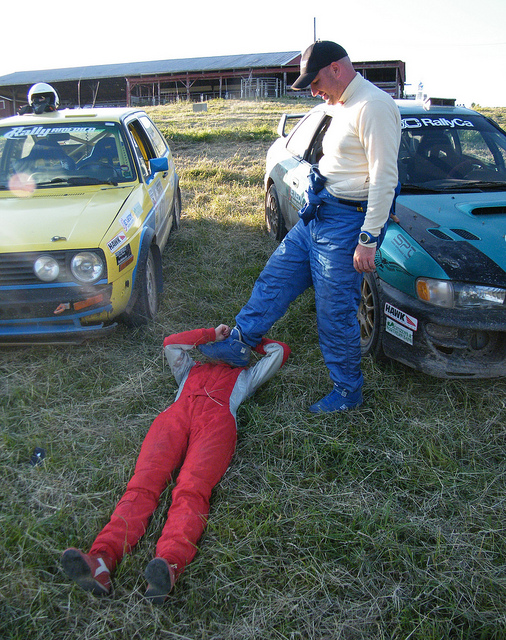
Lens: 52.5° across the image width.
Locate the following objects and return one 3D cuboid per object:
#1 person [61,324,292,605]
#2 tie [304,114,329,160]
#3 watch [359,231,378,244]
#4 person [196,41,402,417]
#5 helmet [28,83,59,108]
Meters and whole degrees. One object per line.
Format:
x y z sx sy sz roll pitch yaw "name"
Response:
-0.280 0.523 2.093 0.464 0.257 1.022 2 33 22 "person"
0.473 -1.435 4.057 0.047 0.437 0.058 41 1 19 "tie"
0.497 -0.354 2.206 0.063 0.036 0.049 7 -24 -24 "watch"
0.278 -0.379 2.472 0.751 1.712 0.409 4 21 14 "person"
-1.838 -2.015 4.499 0.227 0.267 0.247 -2 6 -10 "helmet"
